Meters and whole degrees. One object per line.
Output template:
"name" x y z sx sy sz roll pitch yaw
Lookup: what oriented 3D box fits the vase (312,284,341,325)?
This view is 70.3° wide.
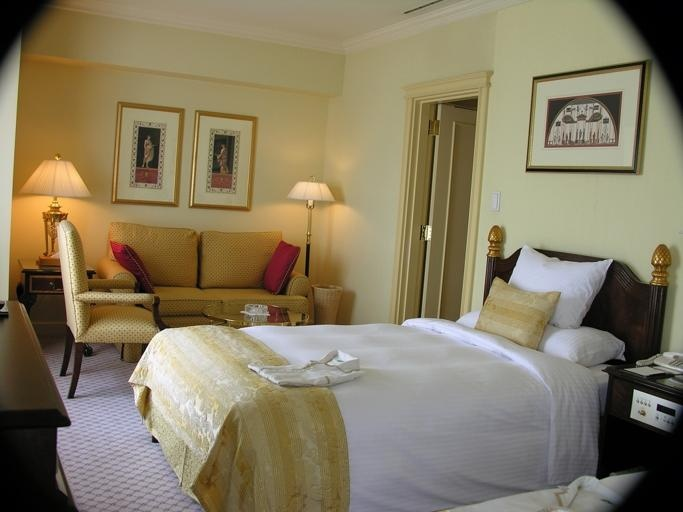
"vase" -0.171 0.499 5.289 0.362 0.451 0.403 0 1 28

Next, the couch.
"couch" -1.405 0.358 4.944 1.980 1.270 1.126 3 2 -35

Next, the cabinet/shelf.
"cabinet/shelf" -2.653 0.222 4.444 0.561 0.574 0.530 0 13 -31

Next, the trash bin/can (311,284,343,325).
"trash bin/can" -0.140 0.504 5.372 0.306 0.393 0.336 2 23 -8

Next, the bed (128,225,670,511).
"bed" 0.654 0.351 3.021 2.085 1.483 1.537 -5 9 -26

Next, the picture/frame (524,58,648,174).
"picture/frame" 1.662 -0.937 3.237 0.055 0.737 0.843 0 5 -32

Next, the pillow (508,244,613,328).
"pillow" 1.496 0.118 3.405 0.879 0.254 0.916 2 16 40

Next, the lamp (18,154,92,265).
"lamp" -2.742 -0.440 4.593 0.534 0.849 0.548 5 2 42
